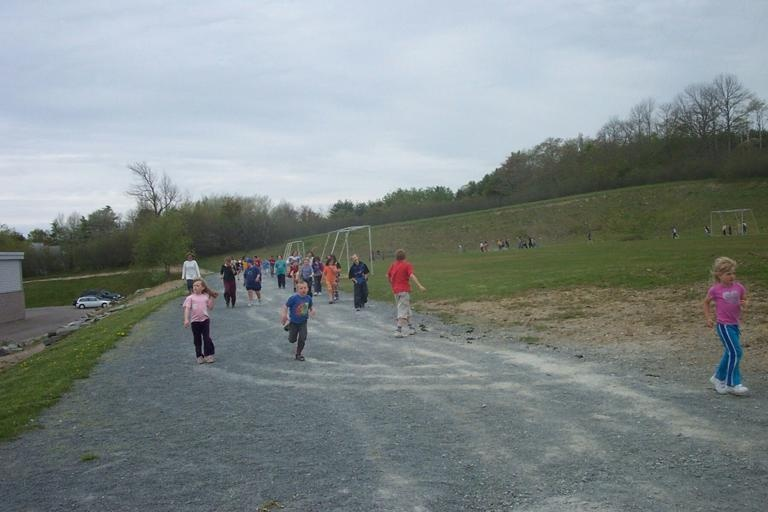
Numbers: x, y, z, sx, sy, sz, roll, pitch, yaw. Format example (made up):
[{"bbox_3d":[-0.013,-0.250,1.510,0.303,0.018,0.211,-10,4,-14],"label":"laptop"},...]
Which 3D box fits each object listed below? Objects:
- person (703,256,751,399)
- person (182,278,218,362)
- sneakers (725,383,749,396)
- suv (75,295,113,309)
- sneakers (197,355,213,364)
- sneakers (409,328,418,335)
[{"bbox_3d":[6.614,1.328,11.748,0.885,2.554,1.044,5,16,26],"label":"person"},{"bbox_3d":[-4.515,1.619,15.055,0.769,1.963,1.331,-7,15,-16],"label":"person"},{"bbox_3d":[6.735,2.516,11.540,0.458,0.200,0.146,-4,14,-10],"label":"sneakers"},{"bbox_3d":[-25.746,4.097,54.022,2.475,0.801,1.128,-3,1,-2],"label":"suv"},{"bbox_3d":[-4.366,2.509,14.819,0.483,0.159,0.206,-6,-1,40],"label":"sneakers"},{"bbox_3d":[0.837,2.199,17.771,0.237,0.217,0.123,0,0,8],"label":"sneakers"}]
